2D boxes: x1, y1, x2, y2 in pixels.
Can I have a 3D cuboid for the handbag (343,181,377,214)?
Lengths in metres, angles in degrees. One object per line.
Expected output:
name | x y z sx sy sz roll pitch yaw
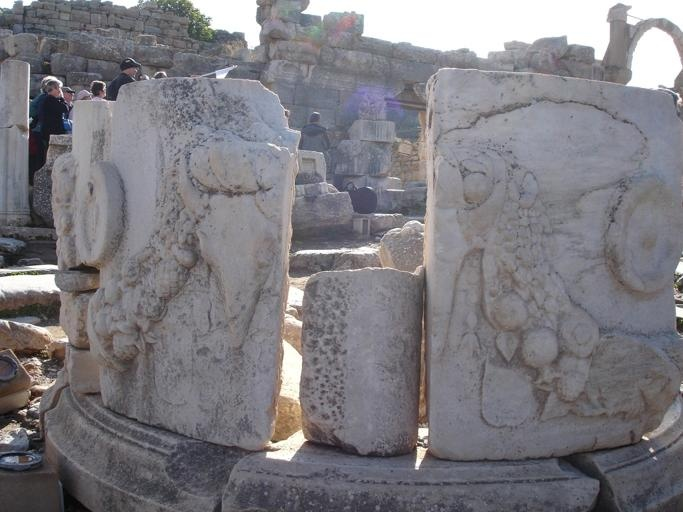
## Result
handbag | 0.255 -0.638 11.880 0.311 0.276 0.286 3 7 -3

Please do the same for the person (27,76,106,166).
person | -2.747 -1.239 9.863 0.382 0.889 1.397 1 8 -16
